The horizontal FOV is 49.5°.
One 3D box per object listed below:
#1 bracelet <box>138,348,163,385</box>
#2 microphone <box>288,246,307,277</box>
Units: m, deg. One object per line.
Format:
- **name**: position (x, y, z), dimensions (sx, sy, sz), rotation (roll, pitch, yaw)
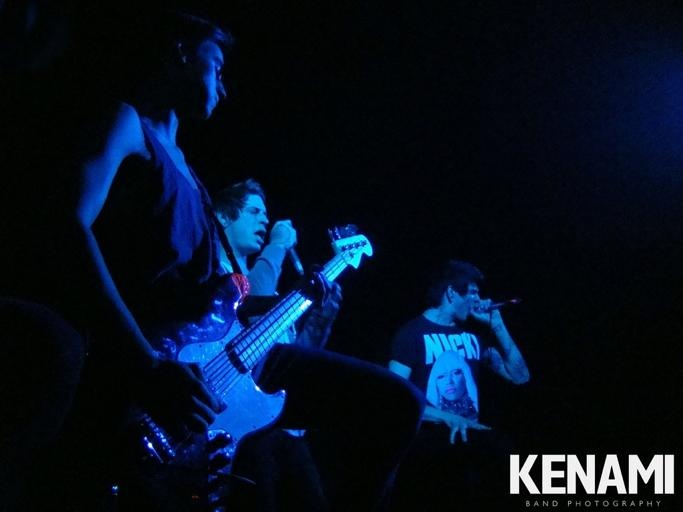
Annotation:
- **bracelet**: position (-0.832, 0.480, 3.236), dimensions (0.095, 0.142, 0.032), rotation (40, -18, -19)
- **microphone**: position (-0.254, 0.036, 4.382), dimensions (0.054, 0.346, 0.063), rotation (-4, -51, -19)
